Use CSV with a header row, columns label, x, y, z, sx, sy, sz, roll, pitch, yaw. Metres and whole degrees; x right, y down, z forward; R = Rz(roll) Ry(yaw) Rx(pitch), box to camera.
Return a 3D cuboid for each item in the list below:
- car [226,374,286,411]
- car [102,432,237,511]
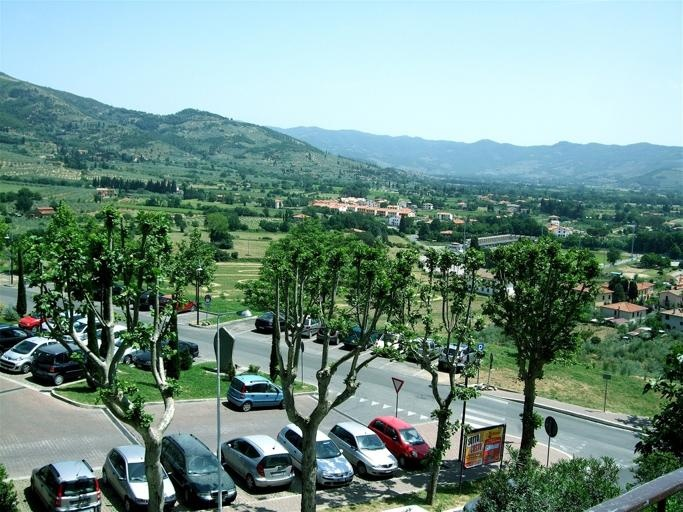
label,x,y,z,sx,sy,sz,roll,pitch,yaw
car,-4.770,7.194,33.368,3.329,1.419,1.824,-1,8,-30
car,-6.396,8.291,23.390,4.533,2.019,3.063,1,3,-16
